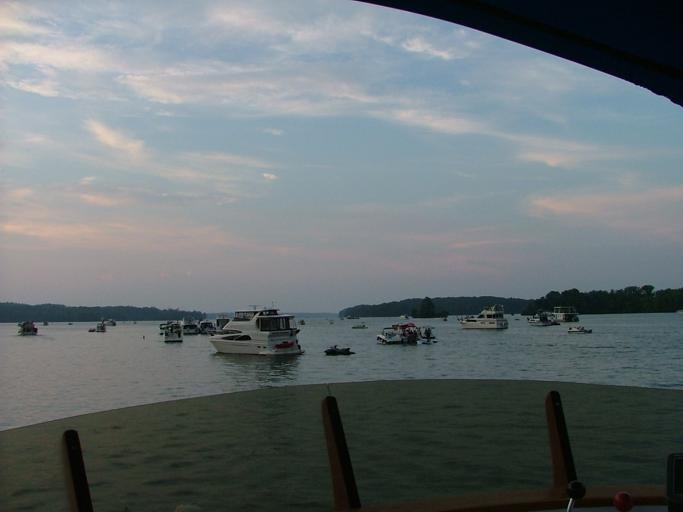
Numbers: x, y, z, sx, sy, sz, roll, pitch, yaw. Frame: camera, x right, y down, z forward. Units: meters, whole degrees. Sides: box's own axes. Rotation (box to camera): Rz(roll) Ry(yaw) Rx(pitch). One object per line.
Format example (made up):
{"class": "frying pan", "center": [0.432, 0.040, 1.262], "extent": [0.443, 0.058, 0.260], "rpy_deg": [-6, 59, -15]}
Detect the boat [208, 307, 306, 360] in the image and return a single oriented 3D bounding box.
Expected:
{"class": "boat", "center": [-8.001, 7.045, 53.680], "extent": [9.053, 4.353, 3.711], "rpy_deg": [-6, -4, 35]}

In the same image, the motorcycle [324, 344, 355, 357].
{"class": "motorcycle", "center": [-0.090, 9.461, 57.536], "extent": [2.525, 0.740, 1.617], "rpy_deg": [7, -9, -10]}
